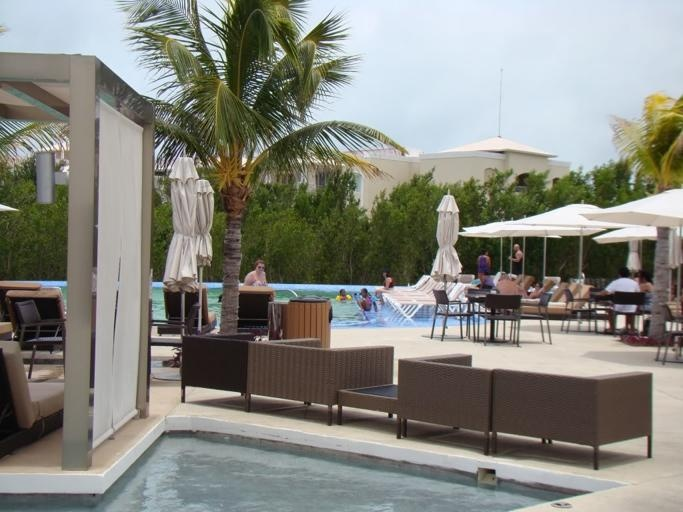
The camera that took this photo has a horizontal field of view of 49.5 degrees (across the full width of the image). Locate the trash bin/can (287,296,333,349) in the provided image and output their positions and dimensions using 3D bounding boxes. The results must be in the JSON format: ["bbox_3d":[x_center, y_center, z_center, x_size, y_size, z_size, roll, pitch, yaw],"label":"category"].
[{"bbox_3d":[-0.583,1.087,12.042,0.668,0.909,0.736,1,-3,-11],"label":"trash bin/can"}]

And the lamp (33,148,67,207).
[{"bbox_3d":[-3.745,-1.028,9.556,0.372,0.685,0.378,0,-2,-22],"label":"lamp"}]

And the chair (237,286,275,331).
[{"bbox_3d":[-1.630,1.088,13.535,0.674,0.875,0.622,3,-20,-16],"label":"chair"}]

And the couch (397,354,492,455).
[{"bbox_3d":[1.159,1.517,8.230,0.941,0.822,0.923,0,0,40],"label":"couch"}]

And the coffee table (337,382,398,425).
[{"bbox_3d":[0.349,1.802,8.862,0.898,0.457,0.620,-1,-2,24],"label":"coffee table"}]

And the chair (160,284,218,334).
[{"bbox_3d":[-2.572,0.912,12.712,0.744,1.025,1.140,2,6,4],"label":"chair"}]

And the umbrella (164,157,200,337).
[{"bbox_3d":[-2.441,-0.499,11.268,0.478,2.034,0.398,0,-1,-13],"label":"umbrella"}]
